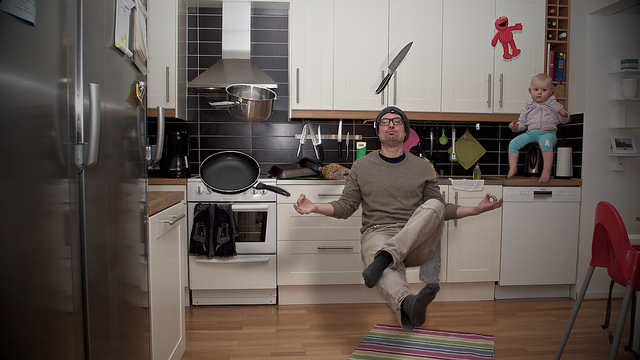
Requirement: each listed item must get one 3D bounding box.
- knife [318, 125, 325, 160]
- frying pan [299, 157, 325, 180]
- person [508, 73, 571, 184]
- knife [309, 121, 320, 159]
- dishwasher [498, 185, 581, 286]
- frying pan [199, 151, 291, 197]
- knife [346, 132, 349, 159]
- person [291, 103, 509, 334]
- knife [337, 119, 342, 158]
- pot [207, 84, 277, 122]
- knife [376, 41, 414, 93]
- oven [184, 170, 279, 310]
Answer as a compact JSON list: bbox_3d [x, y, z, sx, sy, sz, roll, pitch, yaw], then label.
[{"bbox_3d":[0.008,-0.388,4.735,0.033,0.321,0.048,-4,-7,-43],"label":"knife"},{"bbox_3d":[-0.072,-0.119,4.485,0.254,0.081,0.175,24,12,11],"label":"frying pan"},{"bbox_3d":[2.179,-0.507,4.445,0.485,1.050,0.331,7,17,25],"label":"person"},{"bbox_3d":[-0.069,-0.426,4.780,0.078,0.425,0.033,-17,0,10],"label":"knife"},{"bbox_3d":[2.199,0.567,4.767,0.720,1.001,0.760,3,0,-3],"label":"dishwasher"},{"bbox_3d":[-0.687,0.019,4.052,0.832,0.459,0.117,24,35,-9],"label":"frying pan"},{"bbox_3d":[0.299,-0.375,4.840,0.049,0.288,0.016,-2,6,-6],"label":"knife"},{"bbox_3d":[0.635,0.234,3.449,1.716,1.541,1.131,0,-3,7],"label":"person"},{"bbox_3d":[0.209,-0.421,4.736,0.061,0.324,0.031,1,-1,5],"label":"knife"},{"bbox_3d":[-0.647,-0.694,4.137,0.467,0.371,0.755,2,14,6],"label":"pot"},{"bbox_3d":[0.756,-1.128,4.499,0.365,0.491,0.101,-8,18,-28],"label":"knife"},{"bbox_3d":[-0.727,0.618,4.646,1.198,1.169,1.057,-1,-4,-7],"label":"oven"}]
